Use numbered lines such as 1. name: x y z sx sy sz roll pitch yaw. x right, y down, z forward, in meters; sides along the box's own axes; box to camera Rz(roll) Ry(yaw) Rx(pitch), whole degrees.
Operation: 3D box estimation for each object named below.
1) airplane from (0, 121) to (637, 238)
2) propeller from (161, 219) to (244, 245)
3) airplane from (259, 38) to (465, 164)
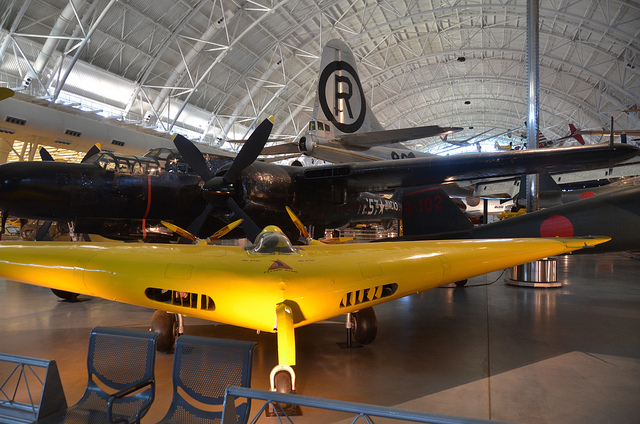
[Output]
1. airplane: -1.366 -0.630 13.516 17.593 2.941 5.932 1 -5 -1
2. propeller: -2.753 0.464 10.975 1.009 0.092 0.961 -11 -22 30
3. airplane: 2.367 -3.990 16.498 5.846 2.262 6.393 -1 0 38
